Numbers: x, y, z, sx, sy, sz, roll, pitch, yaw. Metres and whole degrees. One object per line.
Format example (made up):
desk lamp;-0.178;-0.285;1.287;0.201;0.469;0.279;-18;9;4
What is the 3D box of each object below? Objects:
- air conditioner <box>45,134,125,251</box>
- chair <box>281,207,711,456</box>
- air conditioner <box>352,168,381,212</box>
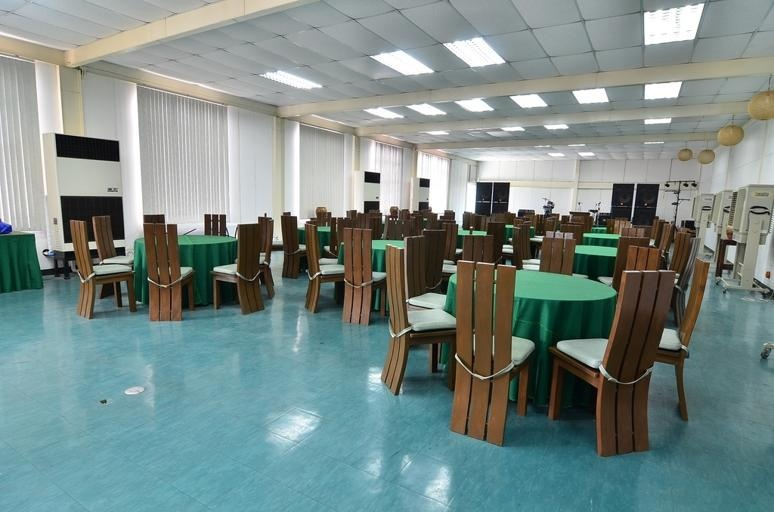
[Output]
air conditioner;-5.405;-1.051;8.253;0.630;2.061;1.221;2;8;17
chair;1.402;0.711;4.600;1.682;1.606;2.113;-7;12;-34
air conditioner;-0.648;-2.112;14.836;0.574;1.292;0.841;5;9;43
